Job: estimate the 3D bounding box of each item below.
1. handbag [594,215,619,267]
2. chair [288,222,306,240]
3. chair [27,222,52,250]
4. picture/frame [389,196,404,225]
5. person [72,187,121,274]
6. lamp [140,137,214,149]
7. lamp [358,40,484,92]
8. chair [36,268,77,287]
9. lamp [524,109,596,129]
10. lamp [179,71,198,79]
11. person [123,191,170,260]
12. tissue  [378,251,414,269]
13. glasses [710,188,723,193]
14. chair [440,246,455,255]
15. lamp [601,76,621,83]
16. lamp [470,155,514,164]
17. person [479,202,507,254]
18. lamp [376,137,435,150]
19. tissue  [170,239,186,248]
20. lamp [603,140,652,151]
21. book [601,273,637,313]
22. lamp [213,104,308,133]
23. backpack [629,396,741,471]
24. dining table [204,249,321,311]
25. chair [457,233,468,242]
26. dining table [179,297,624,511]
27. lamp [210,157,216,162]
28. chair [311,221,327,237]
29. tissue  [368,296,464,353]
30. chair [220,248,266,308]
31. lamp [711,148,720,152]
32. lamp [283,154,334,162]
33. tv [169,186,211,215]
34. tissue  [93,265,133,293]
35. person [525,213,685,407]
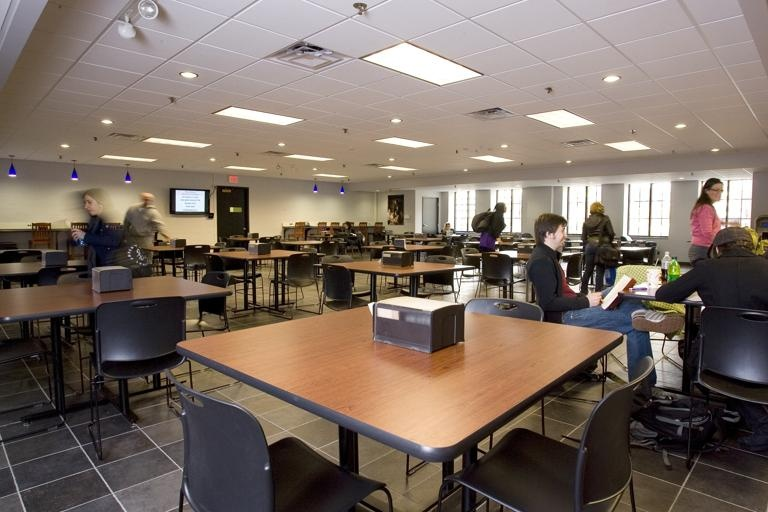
[{"bbox_3d":[4.033,-0.249,8.955,0.491,0.876,0.379,12,17,16],"label":"handbag"},{"bbox_3d":[-3.227,-0.955,18.341,0.593,0.459,1.025,-4,14,-9],"label":"chair"},{"bbox_3d":[-8.746,-0.496,12.543,0.531,0.604,0.780,-11,17,-31],"label":"chair"},{"bbox_3d":[0.480,-1.967,20.936,0.244,1.277,0.938,-14,19,-37],"label":"picture/frame"},{"bbox_3d":[-3.389,-0.284,5.793,0.486,0.946,0.735,-10,17,-29],"label":"person"},{"bbox_3d":[-4.301,-2.327,10.218,1.277,0.244,0.894,-12,17,-38],"label":"lamp"},{"bbox_3d":[0.459,-2.237,5.818,1.375,0.335,0.615,-12,17,-37],"label":"lamp"},{"bbox_3d":[-3.858,0.243,5.777,0.382,0.230,0.389,4,4,31],"label":"chair"},{"bbox_3d":[2.918,-2.235,8.129,0.709,0.252,1.300,9,17,37],"label":"lamp"},{"bbox_3d":[-2.416,-2.222,6.081,0.236,0.064,0.243,4,14,20],"label":"lamp"},{"bbox_3d":[-3.252,-0.417,6.657,0.503,0.778,0.789,-9,16,-25],"label":"person"},{"bbox_3d":[0.172,0.049,6.478,0.395,0.207,0.193,-2,14,-3],"label":"tissue "},{"bbox_3d":[4.175,-0.818,6.185,0.269,0.065,0.070,-12,18,-38],"label":"glasses"},{"bbox_3d":[1.255,-0.092,9.683,0.179,0.102,0.222,3,-6,-14],"label":"chair"},{"bbox_3d":[2.835,-2.204,6.153,0.206,0.065,0.264,2,14,12],"label":"lamp"},{"bbox_3d":[2.770,-2.456,12.574,0.798,0.257,1.645,7,15,30],"label":"lamp"},{"bbox_3d":[2.059,-0.512,9.431,0.441,0.977,0.651,1,15,10],"label":"person"},{"bbox_3d":[0.441,-2.337,10.262,0.820,0.249,1.404,8,16,34],"label":"lamp"},{"bbox_3d":[-4.181,-0.256,10.047,0.222,0.134,0.233,3,5,38],"label":"tissue "},{"bbox_3d":[5.131,-2.293,10.378,0.715,0.246,1.485,7,15,30],"label":"lamp"},{"bbox_3d":[2.020,0.317,4.267,0.338,0.083,0.332,-42,-10,-28],"label":"book"},{"bbox_3d":[-2.043,-2.248,8.030,1.331,0.272,0.812,-12,17,-38],"label":"lamp"},{"bbox_3d":[2.526,1.431,4.167,0.752,0.250,0.569,-2,4,40],"label":"backpack"},{"bbox_3d":[-2.054,0.371,8.571,1.511,1.114,1.616,-5,7,-40],"label":"dining table"},{"bbox_3d":[2.542,-0.604,16.241,0.513,0.239,0.700,-1,2,16],"label":"chair"},{"bbox_3d":[-0.005,0.688,3.044,1.645,0.923,1.697,4,6,44],"label":"dining table"},{"bbox_3d":[-4.445,-2.474,12.757,0.116,0.042,0.109,-1,-7,-4],"label":"lamp"},{"bbox_3d":[-2.501,-0.953,18.730,0.644,0.411,1.901,-3,13,-8],"label":"chair"},{"bbox_3d":[0.225,0.344,3.184,0.518,0.230,0.370,2,2,37],"label":"tissue "},{"bbox_3d":[-2.434,0.389,8.476,0.728,0.729,1.136,-1,3,-45],"label":"chair"},{"bbox_3d":[7.156,-2.280,10.658,0.153,0.075,0.400,7,16,32],"label":"lamp"},{"bbox_3d":[-1.905,-2.465,12.469,1.258,0.226,1.048,-8,15,-28],"label":"lamp"},{"bbox_3d":[-6.205,-1.737,15.553,0.141,0.653,1.078,6,5,44],"label":"tv"},{"bbox_3d":[-2.596,0.223,4.728,0.276,0.191,0.282,1,0,34],"label":"tissue "},{"bbox_3d":[2.063,0.443,4.639,1.361,1.532,0.720,2,15,17],"label":"person"}]
